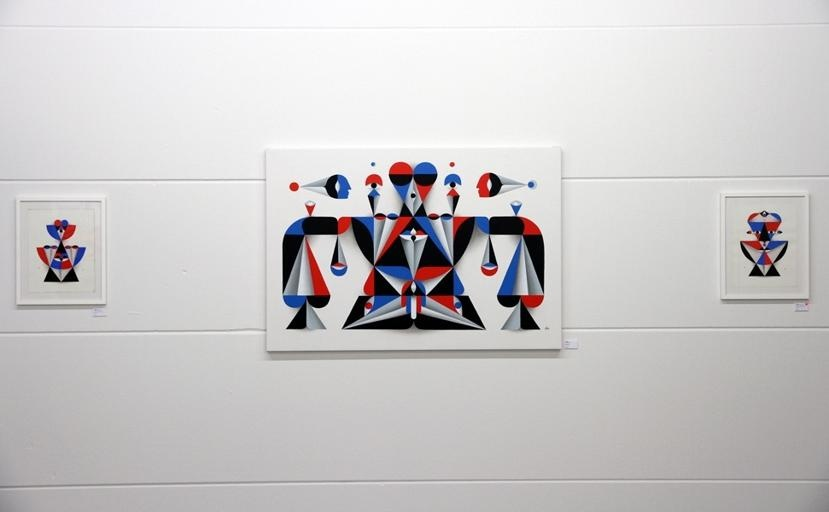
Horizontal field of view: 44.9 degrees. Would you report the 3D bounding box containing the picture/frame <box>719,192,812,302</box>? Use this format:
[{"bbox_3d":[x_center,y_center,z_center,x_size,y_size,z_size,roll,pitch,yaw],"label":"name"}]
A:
[{"bbox_3d":[1.465,-0.048,4.164,0.439,0.556,0.036,0,-1,1],"label":"picture/frame"}]

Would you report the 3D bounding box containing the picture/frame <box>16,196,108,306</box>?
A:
[{"bbox_3d":[-1.480,-0.025,4.162,0.021,0.423,0.355,-3,-2,42],"label":"picture/frame"}]
